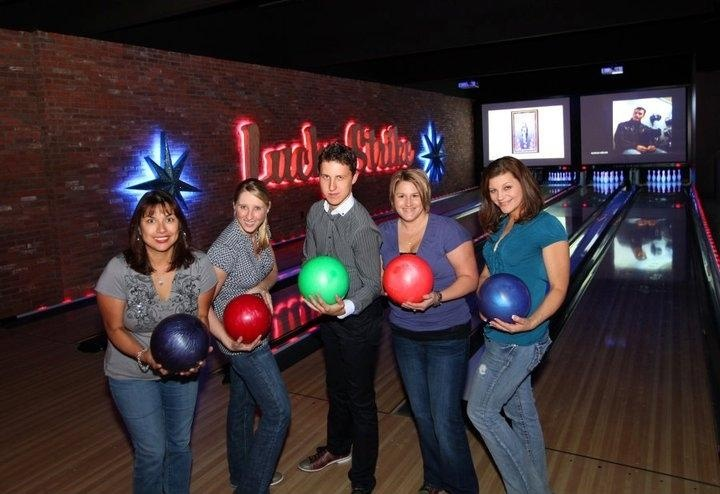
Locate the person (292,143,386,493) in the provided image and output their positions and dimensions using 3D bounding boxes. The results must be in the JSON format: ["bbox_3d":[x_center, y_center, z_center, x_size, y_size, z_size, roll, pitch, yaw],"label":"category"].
[{"bbox_3d":[-0.114,0.372,2.066,0.471,1.707,0.425,1,12,12],"label":"person"}]

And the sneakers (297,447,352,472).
[{"bbox_3d":[-0.197,1.162,2.342,0.296,0.118,0.107,0,1,-18],"label":"sneakers"}]

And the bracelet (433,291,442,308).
[{"bbox_3d":[0.338,0.222,1.813,0.050,0.057,0.035,2,19,6],"label":"bracelet"}]

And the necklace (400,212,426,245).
[{"bbox_3d":[0.246,-0.086,1.977,0.101,0.152,0.046,0,0,23],"label":"necklace"}]
